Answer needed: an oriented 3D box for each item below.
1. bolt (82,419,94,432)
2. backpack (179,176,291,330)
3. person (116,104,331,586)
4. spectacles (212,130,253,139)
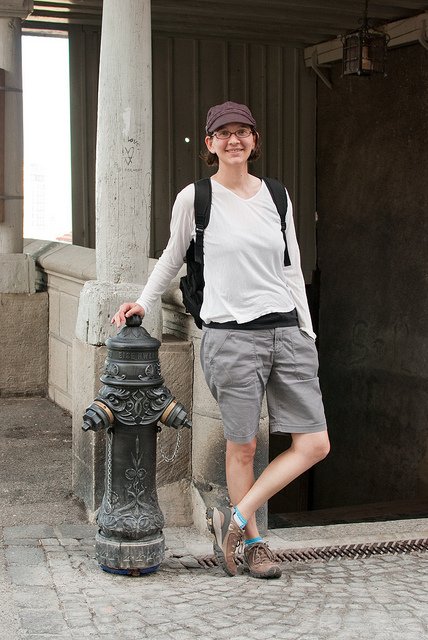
[{"bbox_3d":[-0.478,0.387,2.826,0.036,0.043,0.070,5,1,-34],"label":"bolt"},{"bbox_3d":[0.049,-0.215,2.945,0.387,0.464,0.258,-6,13,-11],"label":"backpack"},{"bbox_3d":[0.078,0.105,2.911,0.741,1.734,0.349,5,1,-12],"label":"person"},{"bbox_3d":[0.065,-0.683,2.795,0.129,0.034,0.038,5,1,-1],"label":"spectacles"}]
